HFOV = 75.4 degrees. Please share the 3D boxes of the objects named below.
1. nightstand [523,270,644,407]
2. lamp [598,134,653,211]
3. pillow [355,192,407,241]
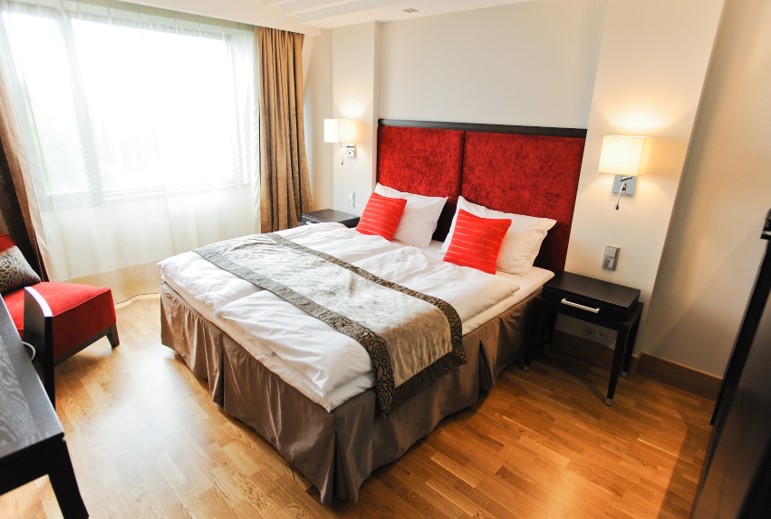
[{"bbox_3d":[1.676,0.656,4.188,0.754,0.815,0.566,19,37,34],"label":"nightstand"},{"bbox_3d":[1.864,-0.677,3.979,0.322,0.609,0.251,11,23,23],"label":"lamp"},{"bbox_3d":[-0.014,-0.425,5.062,0.502,0.449,0.153,16,-7,38],"label":"pillow"}]
